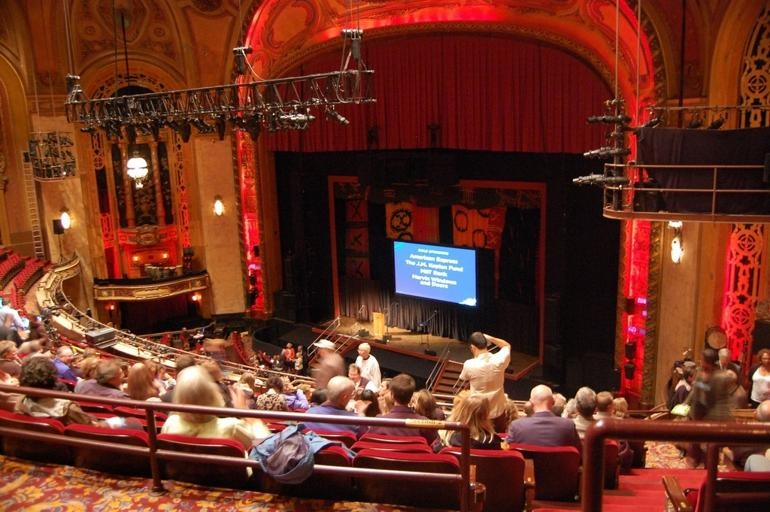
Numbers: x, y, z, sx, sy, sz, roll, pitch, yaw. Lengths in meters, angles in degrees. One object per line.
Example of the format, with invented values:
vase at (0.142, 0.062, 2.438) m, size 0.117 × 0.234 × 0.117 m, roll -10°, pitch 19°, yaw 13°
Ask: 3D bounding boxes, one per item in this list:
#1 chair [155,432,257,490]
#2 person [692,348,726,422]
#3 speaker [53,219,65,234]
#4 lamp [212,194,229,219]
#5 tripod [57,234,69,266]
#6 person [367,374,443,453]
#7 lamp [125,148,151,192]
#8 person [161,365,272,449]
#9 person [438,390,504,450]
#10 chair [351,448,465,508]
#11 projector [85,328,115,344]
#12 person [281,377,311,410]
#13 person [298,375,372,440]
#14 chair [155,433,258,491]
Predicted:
chair at (-1.673, 1.943, 6.086) m, size 0.629 × 0.727 × 0.634 m, roll 5°, pitch 18°, yaw 6°
person at (4.253, 1.676, 8.207) m, size 0.378 × 0.908 × 0.379 m, roll 3°, pitch 7°, yaw 25°
speaker at (-9.630, -0.850, 18.404) m, size 0.280 × 0.476 × 0.302 m, roll -4°, pitch 7°, yaw -28°
lamp at (-5.095, -1.547, 19.330) m, size 0.364 × 0.675 × 0.130 m, roll -3°, pitch 7°, yaw -21°
tripod at (-9.602, -0.249, 18.573) m, size 0.293 × 0.796 × 0.493 m, roll -1°, pitch 7°, yaw -9°
person at (0.161, 1.629, 6.604) m, size 0.876 × 0.683 × 0.379 m, roll 5°, pitch -4°, yaw -12°
lamp at (-7.278, -2.539, 18.284) m, size 0.688 × 1.070 × 0.621 m, roll -19°, pitch 27°, yaw -41°
person at (-1.742, 1.470, 6.329) m, size 0.806 × 1.002 × 0.962 m, roll 1°, pitch 1°, yaw 18°
person at (0.952, 1.758, 6.629) m, size 0.778 × 0.800 × 0.512 m, roll 2°, pitch 14°, yaw 7°
chair at (0.236, 1.811, 5.622) m, size 0.972 × 0.598 × 0.508 m, roll 3°, pitch 36°, yaw 7°
projector at (-5.415, 1.524, 11.898) m, size 0.526 × 0.236 × 0.450 m, roll -2°, pitch 6°, yaw -24°
person at (-1.285, 1.990, 8.991) m, size 0.272 × 0.725 × 0.309 m, roll -37°, pitch 58°, yaw -16°
person at (-0.563, 1.624, 6.719) m, size 0.844 × 0.623 × 0.478 m, roll 6°, pitch 6°, yaw 40°
chair at (-1.690, 1.937, 6.116) m, size 0.649 × 0.718 × 0.618 m, roll 4°, pitch 20°, yaw 4°
